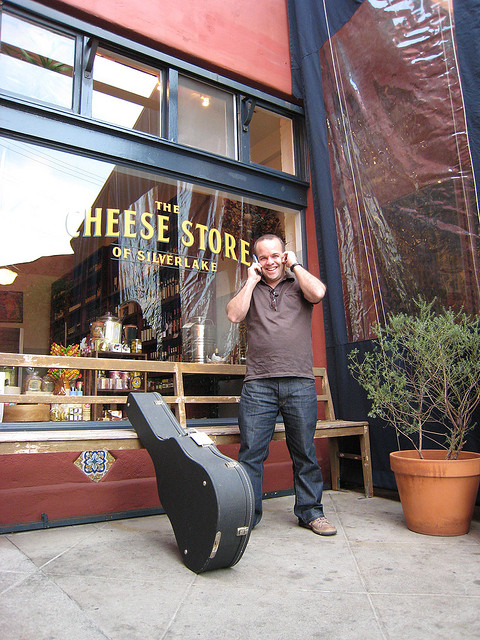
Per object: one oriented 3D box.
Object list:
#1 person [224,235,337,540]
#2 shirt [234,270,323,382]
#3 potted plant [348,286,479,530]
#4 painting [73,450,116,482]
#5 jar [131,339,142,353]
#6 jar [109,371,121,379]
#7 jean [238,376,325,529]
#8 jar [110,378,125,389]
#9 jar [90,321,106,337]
[{"bbox_3d":[0.183,0.293,2.209,0.499,1.355,0.307,1,-12,-1],"label":"person"},{"bbox_3d":[0.170,0.039,2.274,0.396,0.580,0.305,-2,-17,-3],"label":"shirt"},{"bbox_3d":[1.012,0.406,2.664,0.620,1.343,1.190,-1,-12,5],"label":"potted plant"},{"bbox_3d":[-0.768,0.766,2.460,0.177,0.168,0.027,13,-20,-39],"label":"painting"},{"bbox_3d":[-0.752,0.195,3.373,0.082,0.139,0.084,0,-4,0],"label":"jar"},{"bbox_3d":[-0.866,0.383,3.229,0.074,0.082,0.077,2,-3,0],"label":"jar"},{"bbox_3d":[0.186,0.625,2.189,0.390,0.687,0.288,-1,-12,8],"label":"jean"},{"bbox_3d":[-0.845,0.441,3.215,0.108,0.082,0.062,1,-1,8],"label":"jar"},{"bbox_3d":[-0.982,0.075,3.218,0.087,0.099,0.089,1,2,0],"label":"jar"}]
